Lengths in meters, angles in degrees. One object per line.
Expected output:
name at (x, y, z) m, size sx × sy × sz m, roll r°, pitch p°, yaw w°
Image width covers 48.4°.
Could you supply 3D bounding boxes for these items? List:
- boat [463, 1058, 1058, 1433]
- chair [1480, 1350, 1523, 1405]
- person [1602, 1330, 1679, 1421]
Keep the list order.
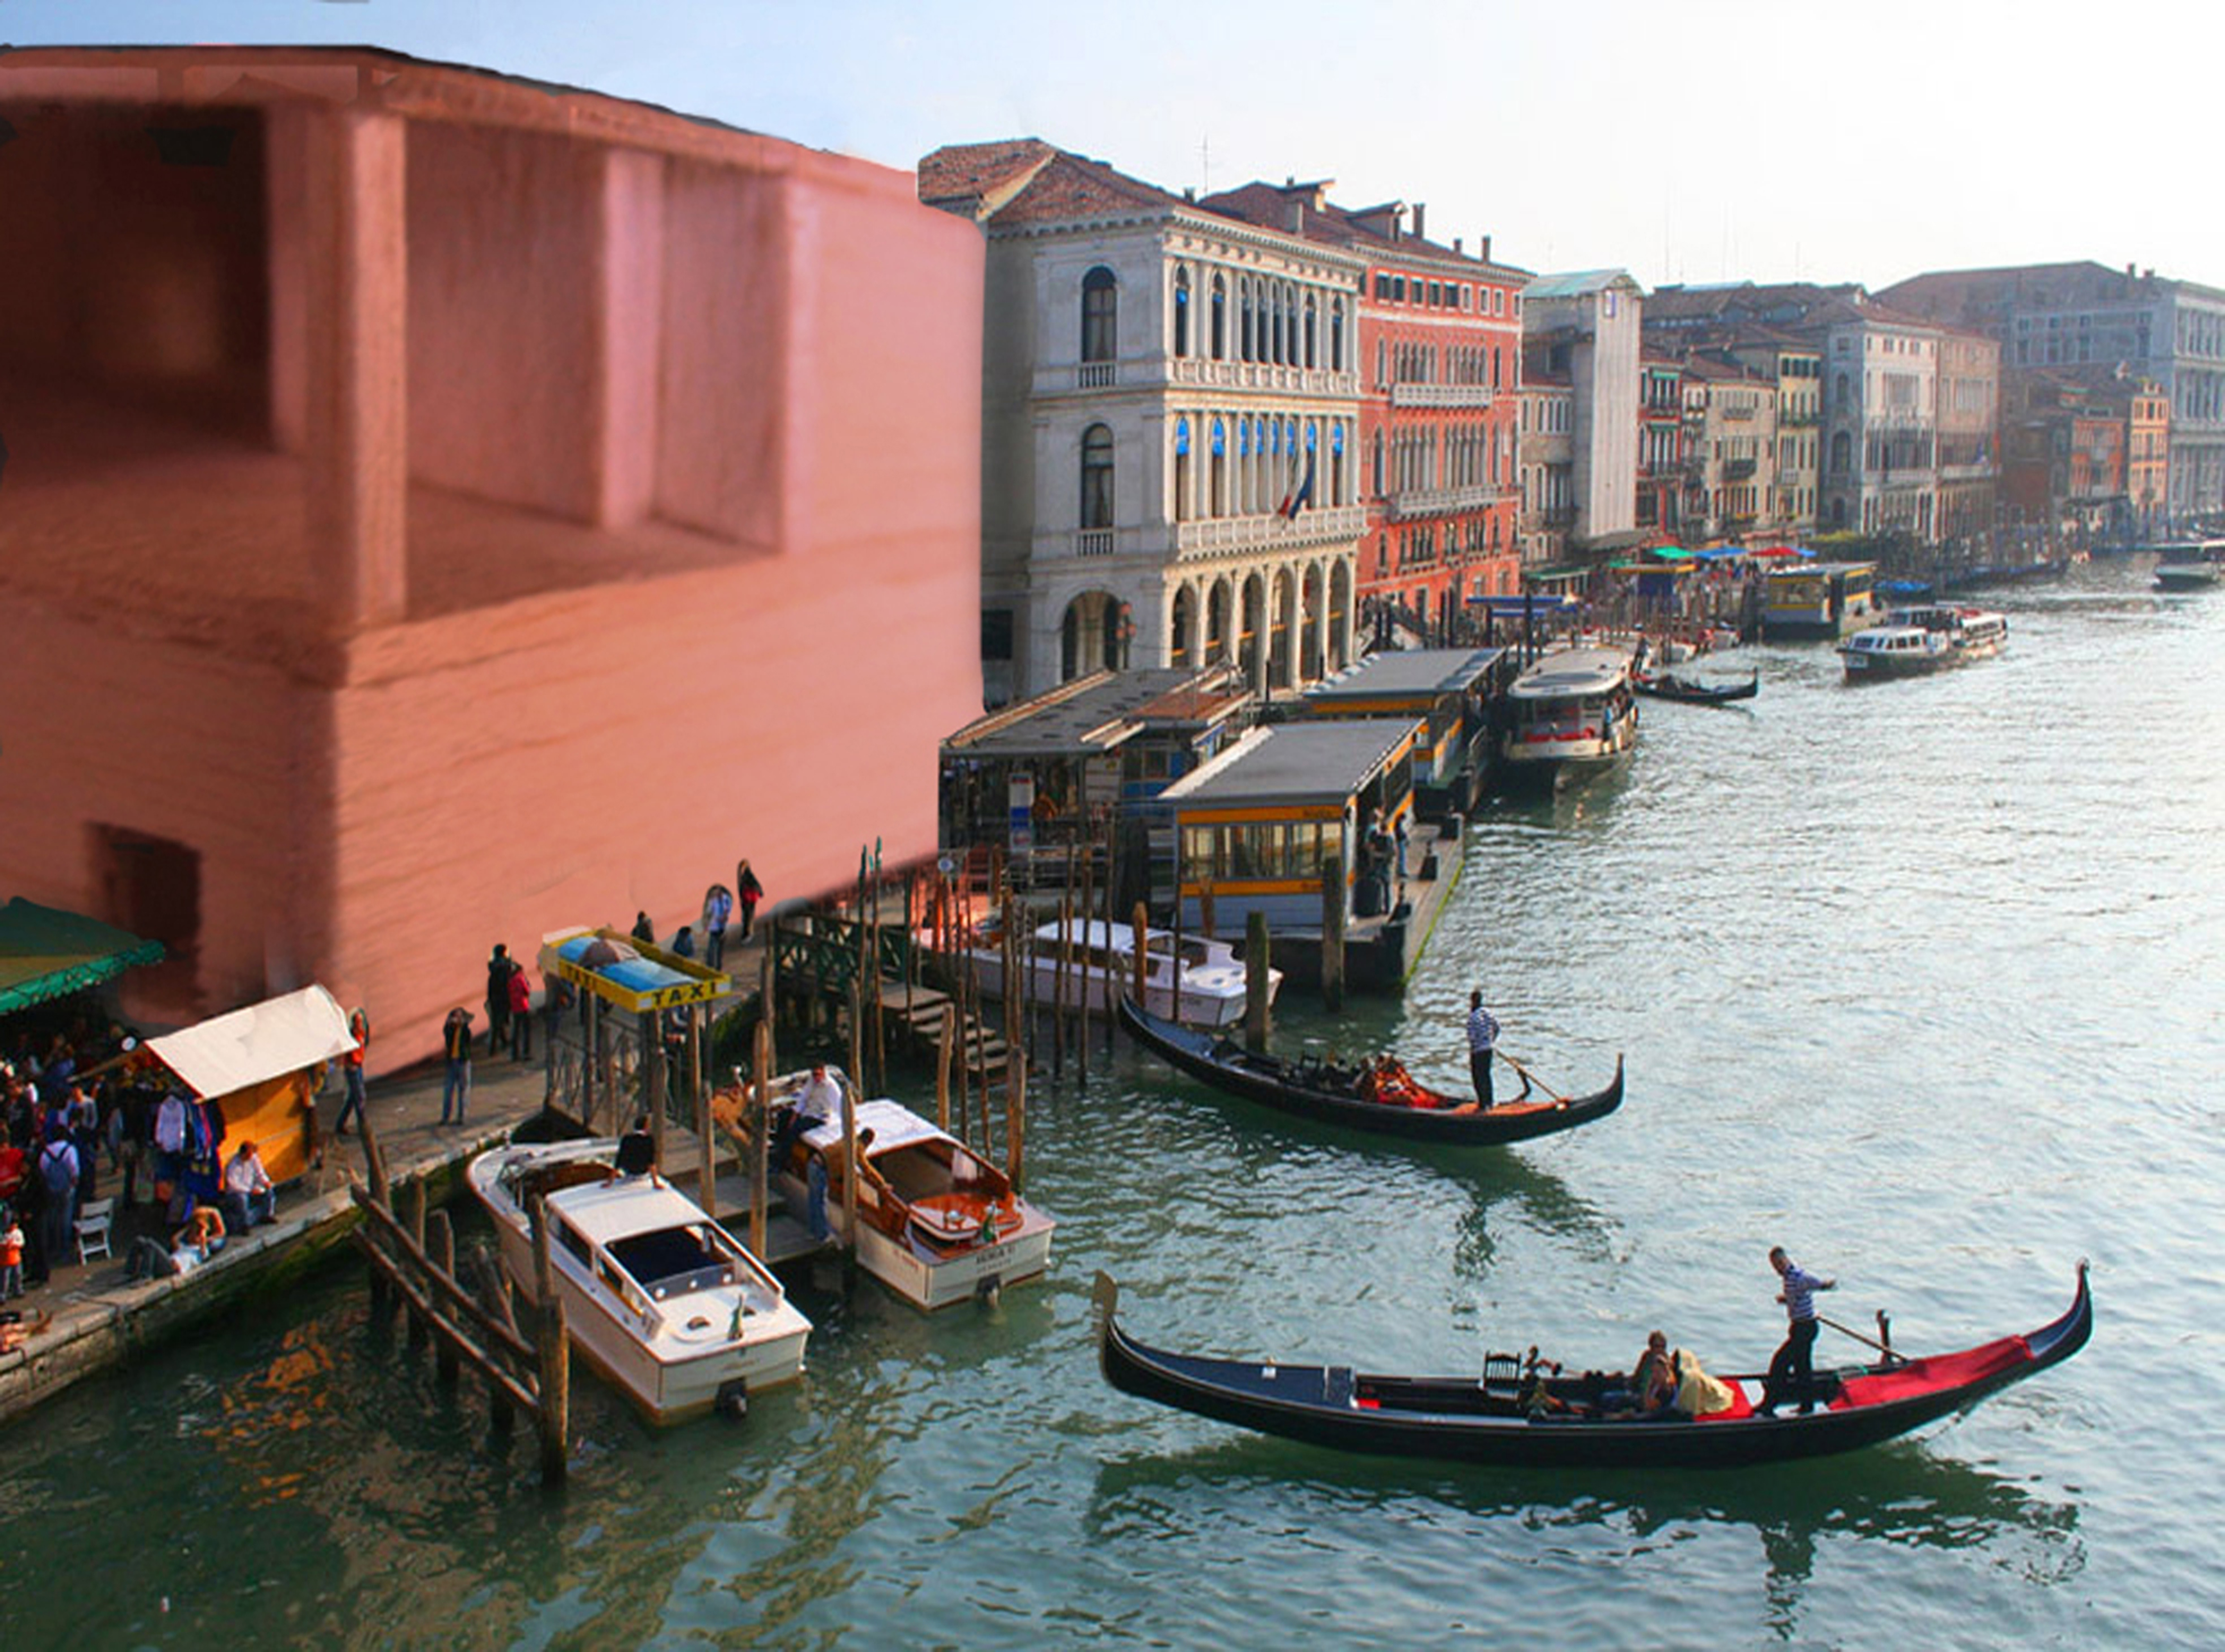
boat at (-6.304, 5.752, 33.668) m, size 4.449 × 2.044 × 5.445 m, roll -7°, pitch 16°, yaw -42°
chair at (5.005, 6.873, 31.112) m, size 0.512 × 0.955 × 0.629 m, roll 1°, pitch 14°, yaw 12°
person at (6.640, 6.767, 30.653) m, size 0.879 × 0.968 × 0.606 m, roll 1°, pitch 11°, yaw 11°
